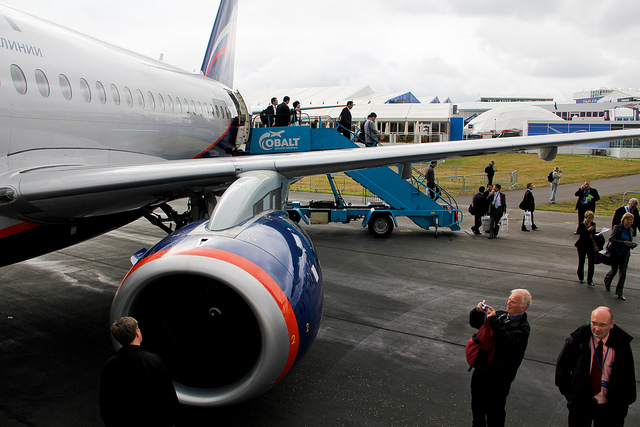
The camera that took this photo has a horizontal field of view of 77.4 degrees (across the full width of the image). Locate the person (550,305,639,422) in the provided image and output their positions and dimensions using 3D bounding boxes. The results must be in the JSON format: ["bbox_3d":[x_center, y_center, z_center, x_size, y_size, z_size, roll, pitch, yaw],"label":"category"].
[{"bbox_3d":[3.727,2.119,5.417,0.882,1.707,0.430,10,18,30],"label":"person"}]

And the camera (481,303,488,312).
[{"bbox_3d":[2.355,1.373,5.817,0.086,0.034,0.104,-2,47,-32],"label":"camera"}]

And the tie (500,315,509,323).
[{"bbox_3d":[2.754,1.594,6.015,0.107,0.026,0.113,-38,31,-10],"label":"tie"}]

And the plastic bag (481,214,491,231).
[{"bbox_3d":[7.136,0.426,17.281,0.549,0.713,0.547,2,8,31],"label":"plastic bag"}]

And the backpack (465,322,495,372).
[{"bbox_3d":[2.328,1.875,5.775,0.363,0.883,0.256,11,4,16],"label":"backpack"}]
